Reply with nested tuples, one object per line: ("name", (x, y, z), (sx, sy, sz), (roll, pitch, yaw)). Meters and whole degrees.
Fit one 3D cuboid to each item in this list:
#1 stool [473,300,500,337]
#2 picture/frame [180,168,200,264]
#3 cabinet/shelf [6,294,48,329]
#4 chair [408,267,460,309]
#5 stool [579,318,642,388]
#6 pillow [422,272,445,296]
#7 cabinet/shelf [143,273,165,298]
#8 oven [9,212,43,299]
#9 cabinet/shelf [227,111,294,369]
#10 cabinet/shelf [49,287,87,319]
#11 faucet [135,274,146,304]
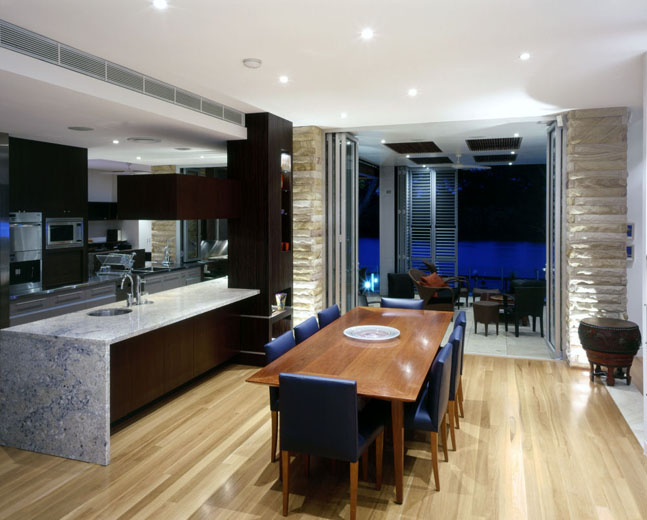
("stool", (2.443, 0.866, 7.102), (0.374, 0.481, 0.335), (3, 9, 21))
("picture/frame", (-2.310, -0.651, 8.102), (0.197, 1.926, 0.375), (1, 22, -22))
("cabinet/shelf", (-3.200, 0.546, 5.082), (0.197, 0.260, 0.387), (0, 0, 9))
("chair", (1.861, 0.461, 7.870), (0.835, 0.644, 0.939), (3, 11, 33))
("stool", (3.013, 0.913, 5.135), (0.610, 0.762, 0.652), (0, 1, 38))
("pillow", (1.764, 0.407, 7.580), (0.351, 0.336, 0.564), (2, 8, 12))
("cabinet/shelf", (-2.598, 0.339, 7.180), (0.144, 0.277, 0.439), (1, 8, 6))
("oven", (-3.610, -0.091, 5.664), (0.501, 1.003, 0.304), (-3, 4, -21))
("cabinet/shelf", (-0.625, -0.252, 5.832), (0.550, 3.111, 0.684), (0, 3, -44))
("cabinet/shelf", (-3.231, 0.509, 5.951), (0.232, 0.293, 0.435), (2, 2, 14))
("faucet", (-1.833, 0.283, 4.750), (0.074, 0.285, 0.235), (-2, 8, -11))
